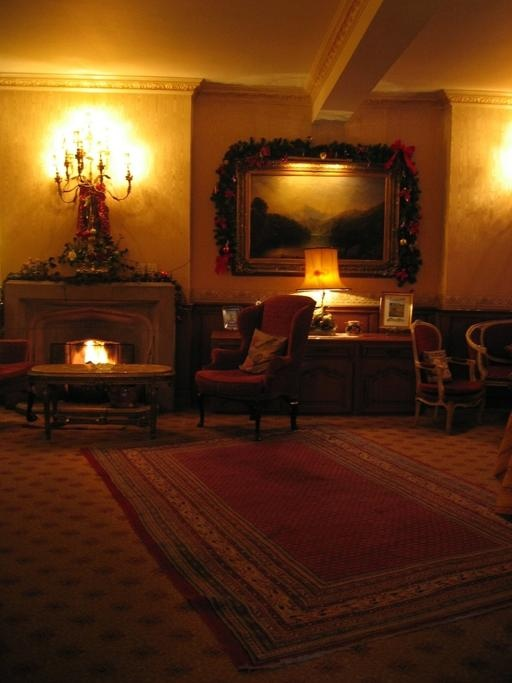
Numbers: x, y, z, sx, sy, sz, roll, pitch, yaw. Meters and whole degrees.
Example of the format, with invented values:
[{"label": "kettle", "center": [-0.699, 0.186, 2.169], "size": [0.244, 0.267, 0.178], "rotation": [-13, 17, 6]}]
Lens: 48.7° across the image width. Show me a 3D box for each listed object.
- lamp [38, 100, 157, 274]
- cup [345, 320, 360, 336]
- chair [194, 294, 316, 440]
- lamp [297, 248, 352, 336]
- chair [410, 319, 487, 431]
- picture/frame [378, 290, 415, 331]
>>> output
[{"label": "lamp", "center": [-1.579, -1.453, 5.472], "size": [0.899, 1.598, 0.483], "rotation": [0, 5, -8]}, {"label": "cup", "center": [0.960, -0.139, 5.665], "size": [0.143, 0.118, 0.135], "rotation": [3, -1, 0]}, {"label": "chair", "center": [-0.011, 0.166, 4.725], "size": [1.004, 1.022, 0.959], "rotation": [-1, 7, 4]}, {"label": "lamp", "center": [0.645, -0.500, 5.623], "size": [0.557, 0.809, 0.527], "rotation": [-5, 6, -36]}, {"label": "chair", "center": [1.709, 0.294, 4.967], "size": [0.664, 0.795, 0.617], "rotation": [0, 9, -6]}, {"label": "picture/frame", "center": [1.451, -0.307, 5.873], "size": [0.465, 0.488, 0.056], "rotation": [2, -10, 2]}]
